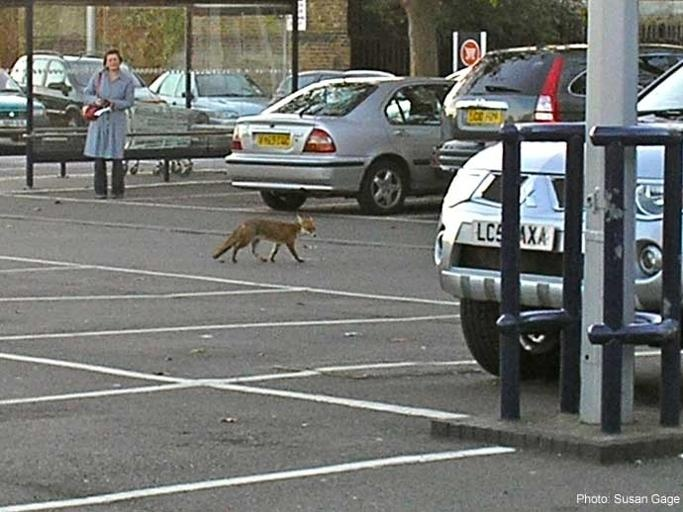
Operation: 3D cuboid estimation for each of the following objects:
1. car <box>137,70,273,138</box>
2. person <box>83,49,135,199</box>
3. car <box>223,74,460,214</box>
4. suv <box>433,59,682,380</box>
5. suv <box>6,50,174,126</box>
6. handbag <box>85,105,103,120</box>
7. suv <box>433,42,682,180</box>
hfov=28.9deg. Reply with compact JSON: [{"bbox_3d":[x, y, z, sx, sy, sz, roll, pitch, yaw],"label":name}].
[{"bbox_3d":[-2.276,-2.755,23.622,1.810,0.891,1.101,5,9,40],"label":"car"},{"bbox_3d":[-3.516,-2.001,19.899,0.737,2.239,0.464,-1,5,-12],"label":"person"},{"bbox_3d":[-0.004,-1.501,17.816,1.528,1.184,3.321,6,13,42],"label":"car"},{"bbox_3d":[1.726,-0.052,8.485,2.098,1.242,1.117,1,-1,-37],"label":"suv"},{"bbox_3d":[-4.220,-2.943,22.871,2.081,1.240,1.301,-3,10,-18],"label":"suv"},{"bbox_3d":[-3.723,-2.154,19.778,0.316,0.221,0.090,4,6,29],"label":"handbag"},{"bbox_3d":[2.836,-1.936,15.914,3.313,1.253,1.581,-13,10,-36],"label":"suv"}]
